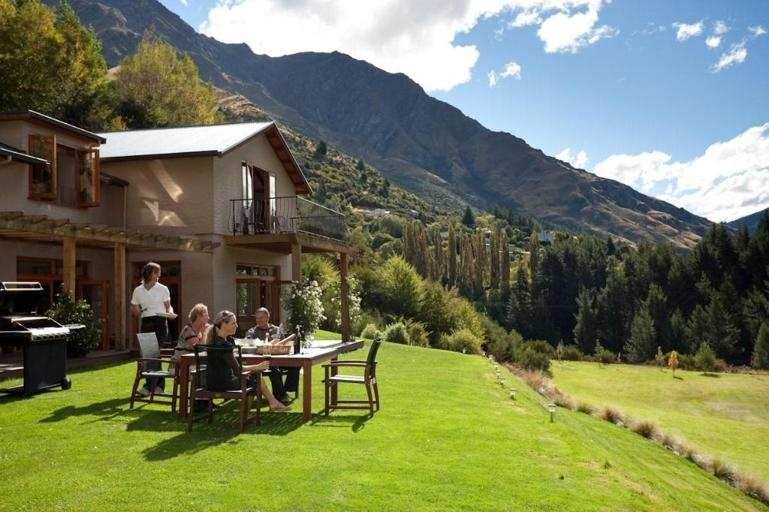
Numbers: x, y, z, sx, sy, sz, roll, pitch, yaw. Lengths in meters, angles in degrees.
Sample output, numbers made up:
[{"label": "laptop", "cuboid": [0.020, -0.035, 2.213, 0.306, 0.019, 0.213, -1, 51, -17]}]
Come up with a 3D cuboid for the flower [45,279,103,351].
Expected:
[{"label": "flower", "cuboid": [-9.848, 2.134, 19.112, 1.182, 2.076, 1.150, 3, 7, -8]}]

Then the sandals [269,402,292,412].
[{"label": "sandals", "cuboid": [-2.524, 3.619, 14.576, 0.574, 0.278, 0.206, -1, -4, -3]}]
